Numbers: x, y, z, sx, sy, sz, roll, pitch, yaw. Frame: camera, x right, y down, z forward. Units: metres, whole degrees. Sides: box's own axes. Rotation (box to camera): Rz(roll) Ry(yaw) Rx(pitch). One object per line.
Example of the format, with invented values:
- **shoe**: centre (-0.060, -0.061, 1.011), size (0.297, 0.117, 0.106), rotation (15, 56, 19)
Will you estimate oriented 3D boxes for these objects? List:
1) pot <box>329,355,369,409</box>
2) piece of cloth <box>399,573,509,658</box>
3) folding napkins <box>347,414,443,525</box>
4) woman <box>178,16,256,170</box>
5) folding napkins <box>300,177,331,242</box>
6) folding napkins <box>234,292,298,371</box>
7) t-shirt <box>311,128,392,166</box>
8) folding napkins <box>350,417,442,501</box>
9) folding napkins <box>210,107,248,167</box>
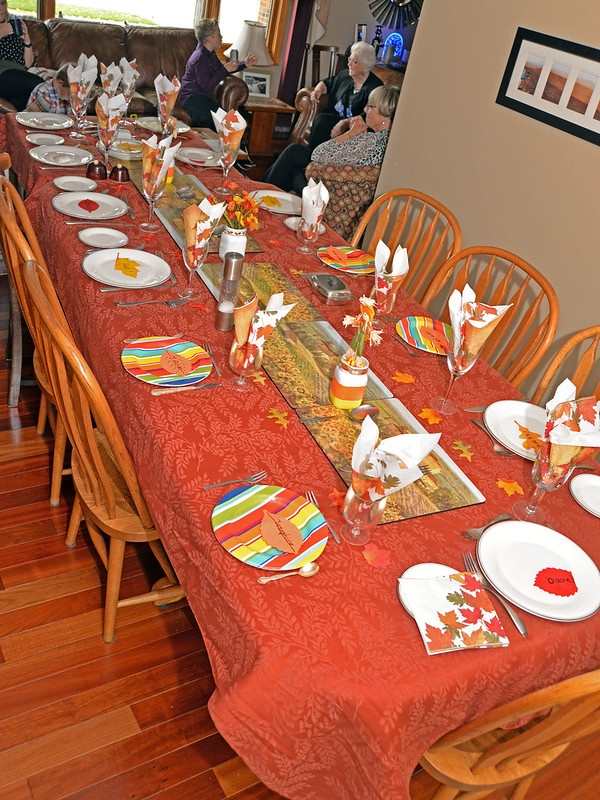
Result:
- **pot**: centre (0.115, -0.040, 1.315), size (0.076, 0.117, 0.073), rotation (6, 34, -4)
- **piece of cloth**: centre (0.229, 0.318, 0.870), size (0.148, 0.016, 0.128), rotation (3, 32, -17)
- **folding napkins**: centre (0.142, 0.102, 0.906), size (0.153, 0.185, 0.073), rotation (13, 9, -6)
- **woman**: centre (-0.812, -2.918, 5.484), size (0.700, 1.231, 0.459), rotation (-7, 41, -18)
- **folding napkins**: centre (0.034, -0.624, 1.935), size (0.084, 0.211, 0.070), rotation (24, 49, 13)
- **folding napkins**: centre (-0.081, -0.154, 1.356), size (0.093, 0.209, 0.126), rotation (17, 38, -16)
- **t-shirt**: centre (0.309, -1.516, 3.537), size (0.456, 0.115, 0.265), rotation (-3, 31, 23)
- **folding napkins**: centre (0.156, 0.111, 0.916), size (0.140, 0.045, 0.132), rotation (-20, 39, -40)
- **folding napkins**: centre (-0.261, -0.994, 2.214), size (0.145, 0.206, 0.110), rotation (-2, 32, -12)
